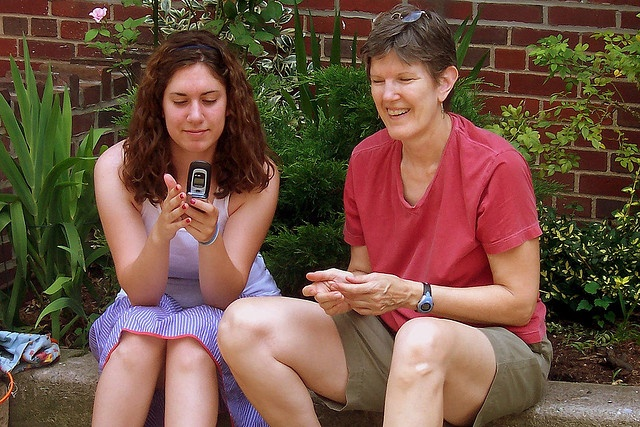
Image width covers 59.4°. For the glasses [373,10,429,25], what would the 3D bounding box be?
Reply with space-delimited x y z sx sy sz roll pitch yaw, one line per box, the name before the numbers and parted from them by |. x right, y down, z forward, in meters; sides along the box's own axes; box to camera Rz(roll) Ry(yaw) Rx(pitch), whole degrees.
glasses | 0.358 -0.788 2.262 0.151 0.068 0.051 4 5 7

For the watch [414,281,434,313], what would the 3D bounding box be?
watch | 0.418 0.334 2.268 0.069 0.106 0.110 6 -19 -2

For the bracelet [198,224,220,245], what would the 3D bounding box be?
bracelet | -0.479 0.096 2.432 0.082 0.089 0.049 2 5 -11

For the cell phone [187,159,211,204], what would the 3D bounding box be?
cell phone | -0.506 -0.139 2.344 0.093 0.157 0.073 2 5 -13
